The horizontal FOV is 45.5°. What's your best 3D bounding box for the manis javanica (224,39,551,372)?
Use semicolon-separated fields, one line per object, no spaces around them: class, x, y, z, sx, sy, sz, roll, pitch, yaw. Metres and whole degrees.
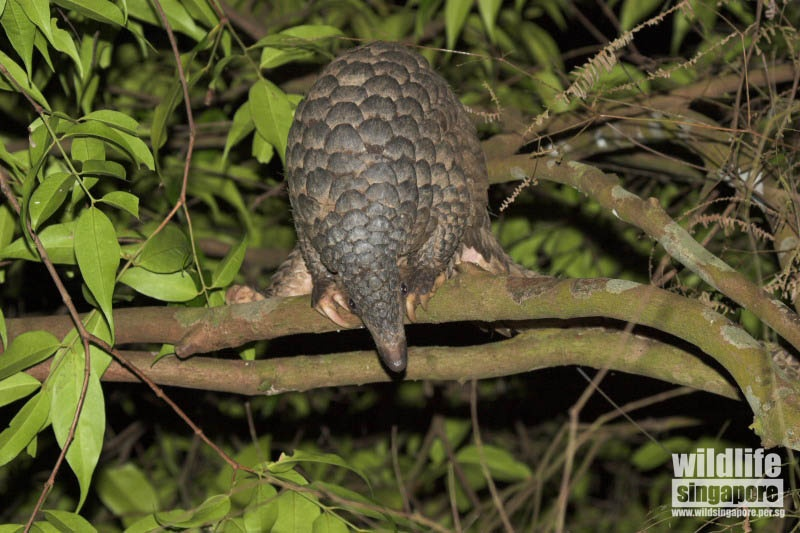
manis javanica;-0.062;-0.408;4.854;1.266;0.932;1.759;-7;33;3
